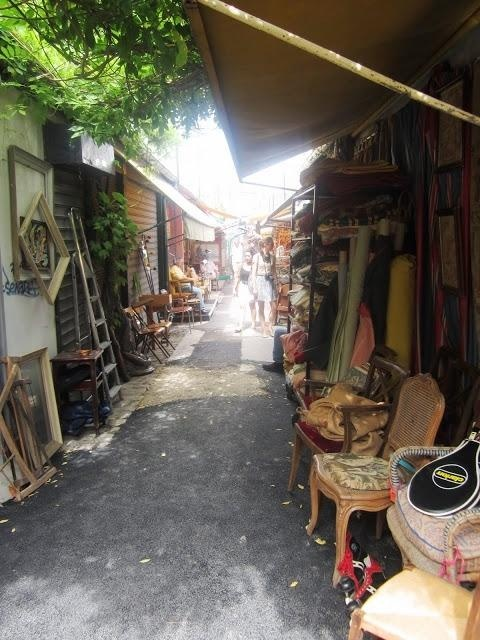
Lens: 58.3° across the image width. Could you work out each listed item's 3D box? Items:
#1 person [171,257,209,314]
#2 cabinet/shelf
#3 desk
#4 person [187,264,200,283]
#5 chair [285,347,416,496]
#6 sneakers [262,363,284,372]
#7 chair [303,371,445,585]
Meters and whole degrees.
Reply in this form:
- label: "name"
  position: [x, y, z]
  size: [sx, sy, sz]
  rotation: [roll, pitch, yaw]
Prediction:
- label: "person"
  position: [-1.429, -0.981, 11.827]
  size: [0.843, 1.553, 0.722]
  rotation: [-8, 8, -12]
- label: "cabinet/shelf"
  position: [0.984, -0.315, 3.959]
  size: [0.666, 2.063, 2.110]
  rotation: [2, 7, 5]
- label: "desk"
  position: [-1.665, 0.765, 4.480]
  size: [0.313, 0.739, 0.765]
  rotation: [-3, 8, -4]
- label: "person"
  position: [-1.580, -1.578, 14.504]
  size: [0.387, 0.337, 1.406]
  rotation: [-7, 7, -6]
- label: "chair"
  position: [0.777, 0.803, 3.115]
  size: [0.774, 1.065, 0.805]
  rotation: [3, 7, 18]
- label: "sneakers"
  position: [0.519, 0.726, 6.769]
  size: [0.333, 0.153, 0.123]
  rotation: [9, -1, 20]
- label: "chair"
  position: [0.768, 0.864, 2.522]
  size: [0.623, 1.063, 0.595]
  rotation: [1, 5, -3]
